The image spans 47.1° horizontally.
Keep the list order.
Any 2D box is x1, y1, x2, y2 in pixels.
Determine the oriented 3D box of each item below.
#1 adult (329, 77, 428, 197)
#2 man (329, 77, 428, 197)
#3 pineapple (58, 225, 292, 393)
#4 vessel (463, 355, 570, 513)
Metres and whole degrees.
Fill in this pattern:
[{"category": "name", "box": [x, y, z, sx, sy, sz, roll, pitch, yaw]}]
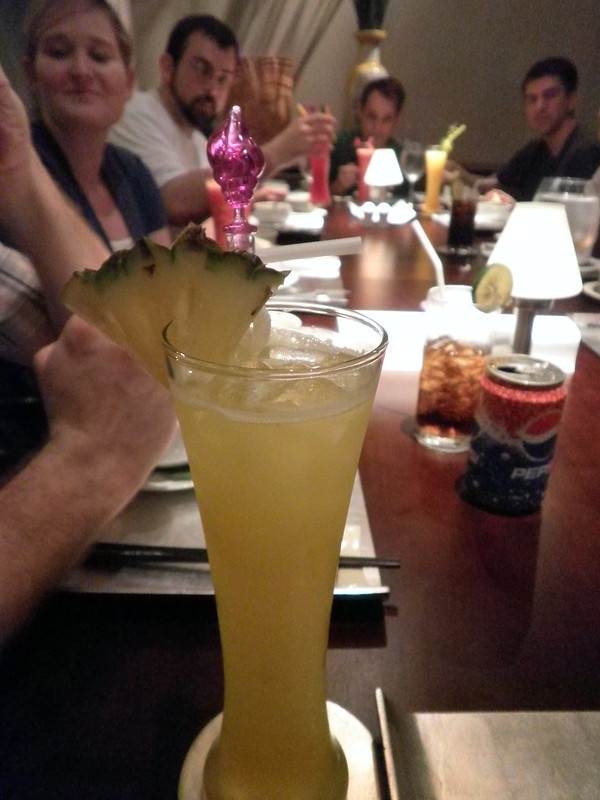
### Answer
[{"category": "adult", "box": [0.395, -1.399, 4.092, 0.470, 0.902, 0.458, 13, 23, 4]}, {"category": "man", "box": [0.408, -1.404, 4.132, 0.516, 0.964, 0.493, 8, 28, -1]}, {"category": "pineapple", "box": [-0.091, -0.059, 0.481, 0.177, 0.123, 0.058, 22, 38, 34]}, {"category": "vessel", "box": [0.265, 0.044, 0.888, 0.108, 0.108, 0.189, 23, 65, -2]}]
